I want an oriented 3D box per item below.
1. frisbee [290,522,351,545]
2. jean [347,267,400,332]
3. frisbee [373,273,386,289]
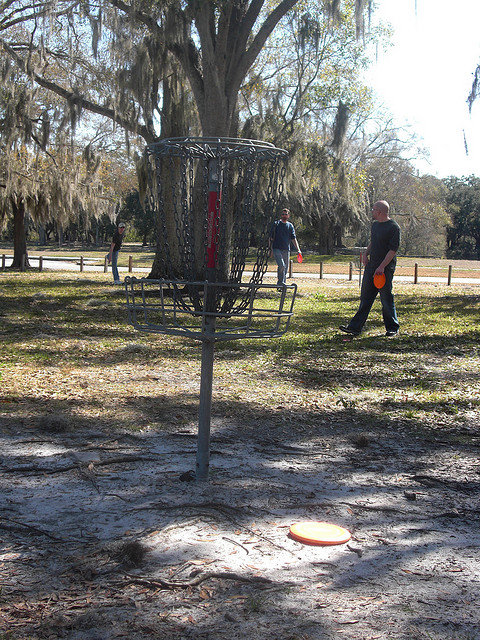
[{"bbox_3d":[0.397,1.070,4.241,0.302,0.036,0.259,2,4,1],"label":"frisbee"},{"bbox_3d":[1.808,-0.234,11.067,0.705,0.856,0.720,0,5,-27],"label":"jean"},{"bbox_3d":[1.712,-0.475,10.452,0.129,0.098,0.136,4,35,22],"label":"frisbee"}]
